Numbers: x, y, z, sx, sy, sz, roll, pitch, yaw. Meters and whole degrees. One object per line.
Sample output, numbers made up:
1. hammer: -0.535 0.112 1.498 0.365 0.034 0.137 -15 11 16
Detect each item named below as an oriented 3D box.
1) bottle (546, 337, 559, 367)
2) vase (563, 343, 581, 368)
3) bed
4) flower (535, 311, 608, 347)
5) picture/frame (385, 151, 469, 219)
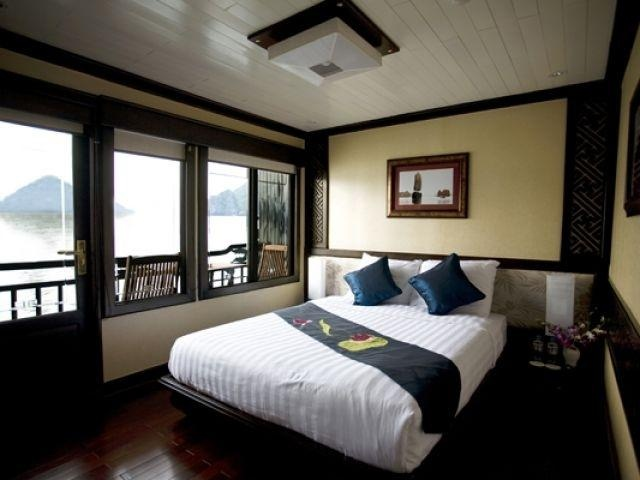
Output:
1. bottle: 2.210 1.072 4.228 0.111 0.179 0.096 3 -5 42
2. vase: 2.380 1.087 4.195 0.129 0.215 0.250 8 15 37
3. bed: 0.248 1.028 4.159 2.298 0.492 2.251 8 15 35
4. flower: 2.524 0.900 4.302 0.346 0.240 0.468 -17 -26 32
5. picture/frame: 1.331 -0.668 5.347 0.793 0.728 0.070 1 2 35
